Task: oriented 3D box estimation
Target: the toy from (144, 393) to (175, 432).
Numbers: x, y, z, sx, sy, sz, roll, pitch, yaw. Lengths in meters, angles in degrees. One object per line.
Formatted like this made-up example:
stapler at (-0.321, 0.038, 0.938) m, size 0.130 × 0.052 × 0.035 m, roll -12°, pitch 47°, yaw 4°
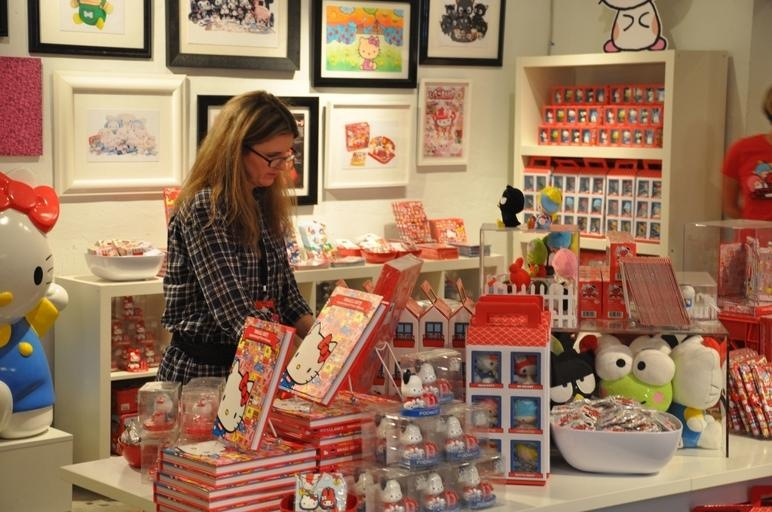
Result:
toy at (-0.762, 0.522, 2.218) m, size 0.104 × 0.115 × 0.058 m, roll -3°, pitch 4°, yaw -11°

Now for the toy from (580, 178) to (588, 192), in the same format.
toy at (1.606, -0.574, 5.345) m, size 0.022 × 0.091 × 0.094 m, roll 4°, pitch 2°, yaw -44°

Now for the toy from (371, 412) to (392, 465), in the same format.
toy at (-0.009, 0.565, 2.040) m, size 0.036 × 0.143 × 0.069 m, roll -5°, pitch 5°, yaw -40°

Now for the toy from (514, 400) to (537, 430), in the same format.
toy at (0.471, 0.534, 2.237) m, size 0.097 × 0.099 × 0.092 m, roll 1°, pitch 1°, yaw -3°

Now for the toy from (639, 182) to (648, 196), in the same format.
toy at (1.943, -0.507, 4.994) m, size 0.021 × 0.087 × 0.090 m, roll 6°, pitch -2°, yaw -39°

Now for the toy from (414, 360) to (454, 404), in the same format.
toy at (0.154, 0.408, 2.188) m, size 0.122 × 0.079 × 0.124 m, roll -1°, pitch 1°, yaw -35°

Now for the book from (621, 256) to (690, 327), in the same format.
book at (1.053, 0.131, 2.593) m, size 0.193 × 0.272 × 0.079 m, roll 1°, pitch -41°, yaw 0°

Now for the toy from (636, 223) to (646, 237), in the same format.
toy at (1.925, -0.201, 5.000) m, size 0.023 × 0.088 × 0.089 m, roll 7°, pitch -4°, yaw -44°

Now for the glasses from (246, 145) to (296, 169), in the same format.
glasses at (-0.453, -0.378, 2.519) m, size 0.147 × 0.075 × 0.037 m, roll -4°, pitch 5°, yaw -28°

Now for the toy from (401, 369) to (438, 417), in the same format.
toy at (0.099, 0.426, 2.078) m, size 0.112 × 0.131 × 0.116 m, roll -3°, pitch -2°, yaw 36°

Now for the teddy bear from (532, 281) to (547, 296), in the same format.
teddy bear at (0.603, 0.124, 2.580) m, size 0.051 × 0.055 × 0.053 m, roll -1°, pitch 13°, yaw -9°

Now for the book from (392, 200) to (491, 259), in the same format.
book at (0.387, -0.227, 5.383) m, size 0.671 × 0.466 × 0.580 m, roll -2°, pitch 5°, yaw 0°

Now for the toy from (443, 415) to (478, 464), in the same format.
toy at (0.226, 0.573, 2.054) m, size 0.080 × 0.132 × 0.133 m, roll -5°, pitch -2°, yaw 43°

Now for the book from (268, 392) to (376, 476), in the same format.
book at (-0.230, 0.572, 2.147) m, size 0.252 × 0.089 × 0.208 m, roll 4°, pitch 6°, yaw 21°

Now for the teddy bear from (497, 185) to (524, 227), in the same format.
teddy bear at (0.597, -0.232, 3.155) m, size 0.125 × 0.220 × 0.142 m, roll 3°, pitch 0°, yaw -7°

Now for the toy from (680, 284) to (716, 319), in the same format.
toy at (1.231, 0.178, 2.602) m, size 0.112 × 0.057 × 0.150 m, roll 2°, pitch 6°, yaw 26°

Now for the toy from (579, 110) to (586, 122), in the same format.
toy at (1.601, -1.141, 5.388) m, size 0.021 × 0.077 × 0.076 m, roll 6°, pitch -1°, yaw -43°

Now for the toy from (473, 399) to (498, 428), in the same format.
toy at (0.332, 0.534, 2.195) m, size 0.080 × 0.104 × 0.090 m, roll -1°, pitch 4°, yaw 9°

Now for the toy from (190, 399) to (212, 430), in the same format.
toy at (-0.602, 0.530, 2.217) m, size 0.079 × 0.092 × 0.082 m, roll 1°, pitch -4°, yaw 6°

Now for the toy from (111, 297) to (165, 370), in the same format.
toy at (-1.617, 0.484, 4.372) m, size 0.444 × 0.424 × 0.107 m, roll 2°, pitch 5°, yaw 0°

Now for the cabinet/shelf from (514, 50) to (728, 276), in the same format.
cabinet/shelf at (1.707, -0.677, 4.649) m, size 0.559 × 1.661 × 1.672 m, roll -1°, pitch 4°, yaw -39°

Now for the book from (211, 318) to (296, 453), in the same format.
book at (-0.437, 0.393, 2.075) m, size 0.323 × 0.380 × 0.152 m, roll 2°, pitch 6°, yaw 42°

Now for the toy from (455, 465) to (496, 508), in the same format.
toy at (0.269, 0.715, 2.047) m, size 0.141 × 0.145 × 0.080 m, roll 0°, pitch -4°, yaw -43°

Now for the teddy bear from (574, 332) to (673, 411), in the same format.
teddy bear at (0.946, 0.467, 2.608) m, size 0.356 × 0.343 × 0.378 m, roll 1°, pitch 5°, yaw 3°

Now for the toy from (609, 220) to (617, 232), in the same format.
toy at (1.775, -0.243, 5.185) m, size 0.074 × 0.071 × 0.018 m, roll 1°, pitch -3°, yaw 43°

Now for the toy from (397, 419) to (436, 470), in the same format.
toy at (0.092, 0.583, 2.070) m, size 0.111 × 0.130 × 0.120 m, roll -1°, pitch -1°, yaw -32°

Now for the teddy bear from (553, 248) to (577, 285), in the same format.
teddy bear at (0.720, 0.037, 2.632) m, size 0.104 × 0.129 × 0.096 m, roll -2°, pitch 4°, yaw -2°

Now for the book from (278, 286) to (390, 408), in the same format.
book at (-0.178, 0.293, 2.171) m, size 0.079 × 0.356 × 0.336 m, roll 31°, pitch -10°, yaw -4°

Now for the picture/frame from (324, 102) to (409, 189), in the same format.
picture/frame at (-0.191, -0.901, 5.294) m, size 0.709 × 0.608 × 0.055 m, roll 1°, pitch 6°, yaw -32°

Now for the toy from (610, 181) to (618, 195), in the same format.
toy at (1.782, -0.533, 5.168) m, size 0.024 × 0.091 × 0.093 m, roll 4°, pitch 2°, yaw -37°
